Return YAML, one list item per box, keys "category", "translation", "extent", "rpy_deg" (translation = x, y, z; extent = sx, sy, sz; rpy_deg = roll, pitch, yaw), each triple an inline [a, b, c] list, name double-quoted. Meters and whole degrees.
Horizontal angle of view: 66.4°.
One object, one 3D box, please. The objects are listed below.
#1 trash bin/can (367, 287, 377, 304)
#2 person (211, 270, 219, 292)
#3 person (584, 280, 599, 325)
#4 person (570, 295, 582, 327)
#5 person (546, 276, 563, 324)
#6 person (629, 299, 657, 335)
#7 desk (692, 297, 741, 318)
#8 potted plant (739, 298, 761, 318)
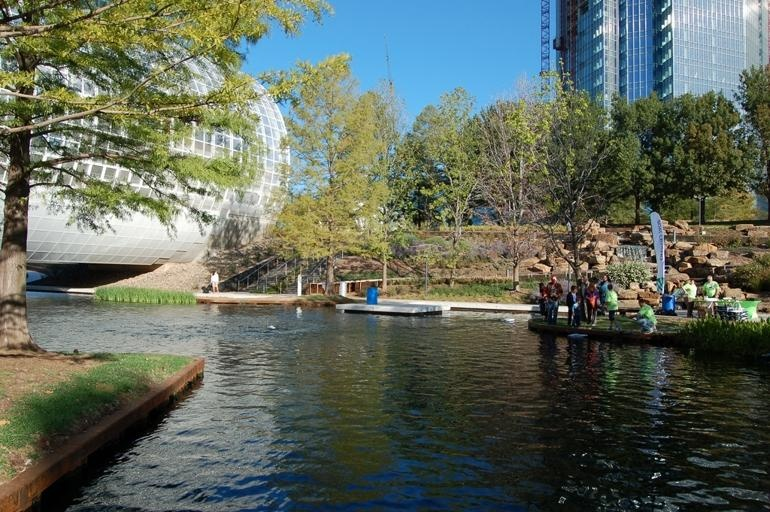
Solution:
- category: "trash bin/can"
  translation: [-0.711, 2.329, 34.339]
  extent: [0.859, 0.863, 0.819]
  rpy_deg: [2, -4, -16]
- category: "person"
  translation: [-13.092, 1.974, 44.539]
  extent: [0.496, 1.372, 0.423]
  rpy_deg: [-2, 10, -32]
- category: "person"
  translation: [8.616, 2.000, 24.534]
  extent: [0.501, 1.749, 0.952]
  rpy_deg: [1, 3, 27]
- category: "person"
  translation: [7.978, 2.270, 24.476]
  extent: [0.375, 1.252, 0.617]
  rpy_deg: [0, 3, 14]
- category: "person"
  translation: [7.367, 1.995, 25.803]
  extent: [0.929, 2.179, 0.814]
  rpy_deg: [0, 3, 4]
- category: "person"
  translation: [10.361, 2.304, 23.202]
  extent: [0.700, 1.266, 2.129]
  rpy_deg: [1, 3, 24]
- category: "desk"
  translation: [13.640, 2.135, 23.821]
  extent: [1.424, 0.582, 1.811]
  rpy_deg: [0, -2, -12]
- category: "potted plant"
  translation: [15.201, 2.178, 24.411]
  extent: [0.900, 0.630, 0.863]
  rpy_deg: [-3, 1, 2]
